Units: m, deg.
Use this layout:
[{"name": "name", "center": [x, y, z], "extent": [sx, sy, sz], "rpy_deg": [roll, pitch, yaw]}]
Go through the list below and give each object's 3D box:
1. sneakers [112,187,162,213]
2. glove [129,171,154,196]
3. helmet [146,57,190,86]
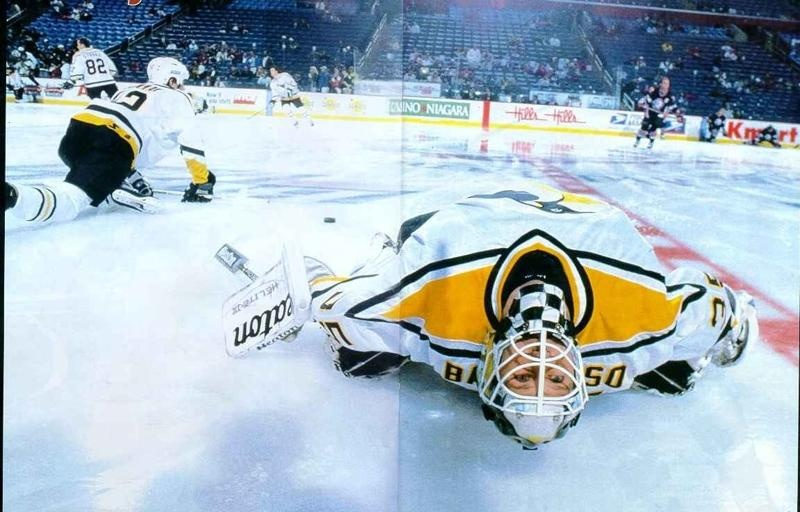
[{"name": "sneakers", "center": [-2.214, -0.462, 6.723], "extent": [0.471, 0.166, 0.196], "rpy_deg": [10, 5, -4]}, {"name": "glove", "center": [-2.187, -0.598, 6.816], "extent": [0.144, 0.256, 0.106], "rpy_deg": [-41, 15, -23]}, {"name": "helmet", "center": [-2.027, -1.614, 7.130], "extent": [0.340, 0.254, 0.257], "rpy_deg": [-13, -16, -10]}]
